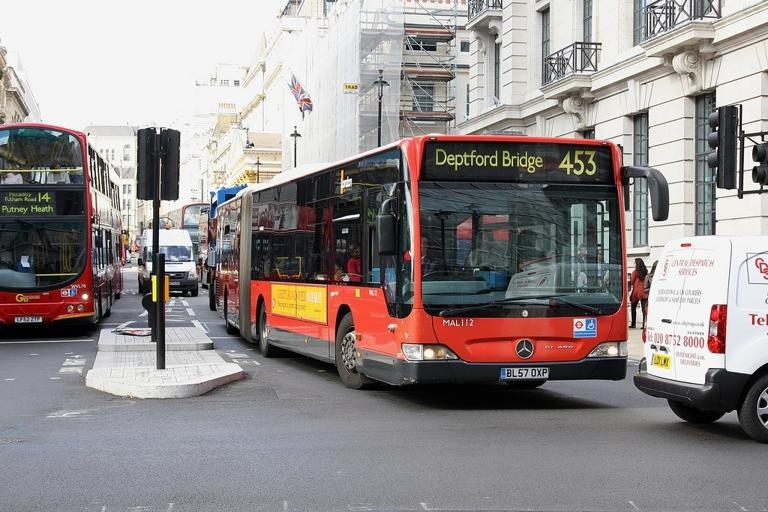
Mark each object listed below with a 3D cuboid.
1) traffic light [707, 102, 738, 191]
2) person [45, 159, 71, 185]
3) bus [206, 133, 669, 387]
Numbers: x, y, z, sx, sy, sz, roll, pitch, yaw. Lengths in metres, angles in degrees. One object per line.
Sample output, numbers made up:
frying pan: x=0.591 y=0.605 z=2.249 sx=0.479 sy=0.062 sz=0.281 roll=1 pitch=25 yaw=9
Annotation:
traffic light: x=7.172 y=-2.336 z=15.188 sx=0.548 sy=1.812 sz=0.917 roll=1 pitch=4 yaw=25
person: x=-9.184 y=-2.299 z=20.253 sx=0.471 sy=0.701 sz=0.733 roll=0 pitch=9 yaw=-22
bus: x=-0.275 y=0.331 z=15.316 sx=3.559 sy=3.714 sz=12.228 roll=1 pitch=-3 yaw=-20
